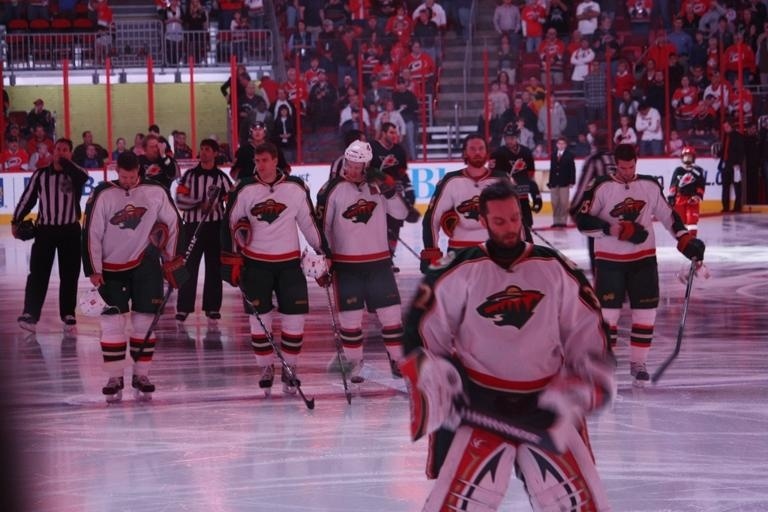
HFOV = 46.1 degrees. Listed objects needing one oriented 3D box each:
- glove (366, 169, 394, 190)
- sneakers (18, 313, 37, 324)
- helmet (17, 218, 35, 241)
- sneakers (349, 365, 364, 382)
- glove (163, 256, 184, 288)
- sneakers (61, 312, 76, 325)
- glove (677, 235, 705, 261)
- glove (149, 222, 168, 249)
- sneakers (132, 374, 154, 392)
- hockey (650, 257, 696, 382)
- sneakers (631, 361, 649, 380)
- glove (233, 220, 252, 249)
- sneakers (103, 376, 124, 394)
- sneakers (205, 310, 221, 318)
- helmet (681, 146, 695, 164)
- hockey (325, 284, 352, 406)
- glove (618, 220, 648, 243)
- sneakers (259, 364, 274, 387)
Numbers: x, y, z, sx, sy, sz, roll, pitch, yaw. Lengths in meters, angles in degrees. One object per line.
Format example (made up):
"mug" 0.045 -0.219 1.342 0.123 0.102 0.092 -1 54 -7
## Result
"glove" -0.018 -0.701 8.352 0.222 0.131 0.172 15 -9 21
"sneakers" -3.962 0.699 9.994 0.191 0.144 0.167 -9 15 -29
"helmet" -4.027 -0.282 10.130 0.174 0.241 0.341 -1 13 0
"sneakers" -0.245 1.096 8.399 0.136 0.219 0.137 0 -11 10
"glove" -1.898 0.134 8.136 0.178 0.234 0.133 -43 19 -34
"sneakers" -3.572 0.727 10.219 0.140 0.131 0.203 -7 15 -25
"glove" 2.807 -0.073 8.193 0.227 0.293 0.258 3 14 17
"glove" -2.031 -0.180 8.123 0.119 0.221 0.130 -1 10 0
"sneakers" -2.173 1.151 8.081 0.100 0.130 0.296 4 -6 -32
"hockey" 3.026 0.703 9.350 0.152 1.149 0.148 18 15 37
"sneakers" 2.368 1.058 8.233 0.147 0.152 0.190 0 13 6
"glove" -1.270 -0.188 8.055 0.142 0.250 0.139 3 -4 -8
"sneakers" -2.424 1.162 8.052 0.187 0.166 0.156 -7 14 -23
"sneakers" -1.972 0.671 10.427 0.133 0.098 0.073 6 8 24
"helmet" 5.023 -1.630 14.739 0.180 0.290 0.403 2 14 15
"hockey" -0.425 0.876 8.571 0.073 1.065 0.185 -14 19 -1
"glove" 2.276 -0.206 8.168 0.318 0.212 0.078 -5 14 -17
"sneakers" -1.067 1.089 8.198 0.082 0.102 0.253 -1 11 3
